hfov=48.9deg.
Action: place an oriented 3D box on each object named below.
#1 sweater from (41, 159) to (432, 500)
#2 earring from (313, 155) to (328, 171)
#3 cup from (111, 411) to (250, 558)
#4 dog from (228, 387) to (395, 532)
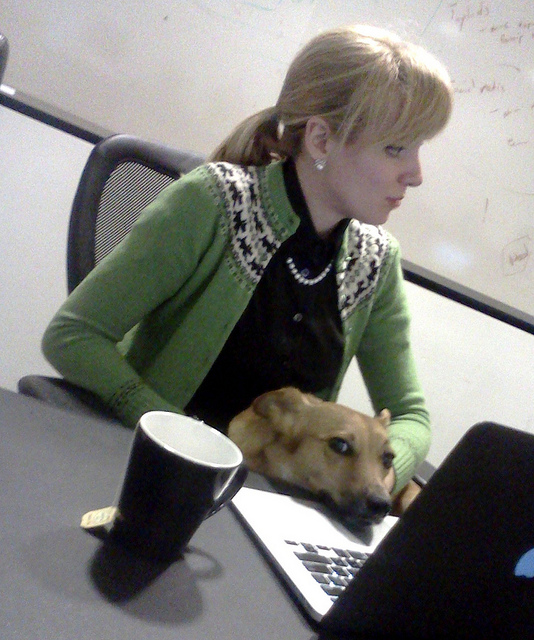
[{"bbox_3d":[-0.037,-0.004,0.816,0.391,0.392,0.250,29,-2,-32],"label":"sweater"},{"bbox_3d":[0.085,-0.256,0.955,0.007,0.021,0.015,11,18,-44],"label":"earring"},{"bbox_3d":[-0.055,0.108,0.373,0.080,0.099,0.073,13,21,-16],"label":"cup"},{"bbox_3d":[0.045,0.176,0.687,0.121,0.088,0.174,27,12,-37],"label":"dog"}]
